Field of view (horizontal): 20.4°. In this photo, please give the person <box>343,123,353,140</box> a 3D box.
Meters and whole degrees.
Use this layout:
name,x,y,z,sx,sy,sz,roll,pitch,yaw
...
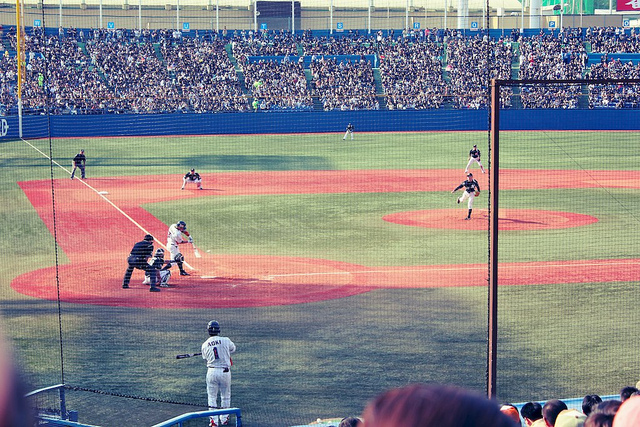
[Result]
name,x,y,z,sx,sy,sz,roll,pitch,yaw
person,2.558,-7.482,156.291,0.722,0.790,1.384,0,44,3

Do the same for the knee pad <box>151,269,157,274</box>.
name,x,y,z,sx,sy,sz,roll,pitch,yaw
knee pad,-11.218,3.931,122.418,0.300,0.261,0.076,14,-4,3
